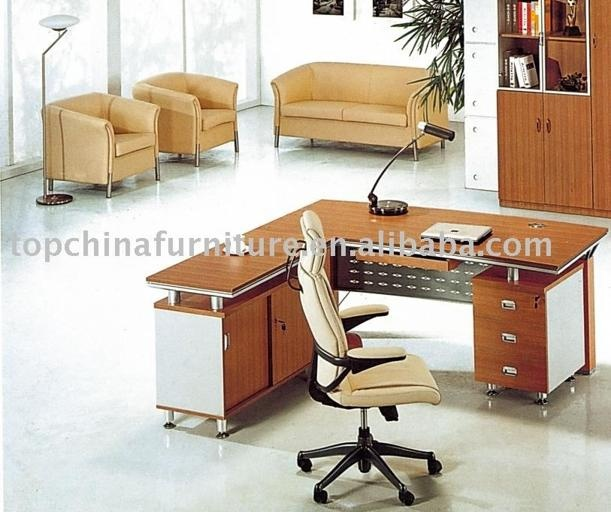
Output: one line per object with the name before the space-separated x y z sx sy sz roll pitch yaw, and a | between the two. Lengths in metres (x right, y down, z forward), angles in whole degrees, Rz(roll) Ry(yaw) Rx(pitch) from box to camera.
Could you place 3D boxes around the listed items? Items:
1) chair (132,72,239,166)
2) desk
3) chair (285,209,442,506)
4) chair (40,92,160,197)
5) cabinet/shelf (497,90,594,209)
chair | -1.651 -1.905 9.775 1.381 1.392 1.671 10 20 28
desk | 0.360 0.207 3.873 1.808 0.724 1.803 9 22 29
chair | 0.269 0.412 3.041 0.680 1.244 0.612 -4 10 -2
chair | -2.503 -1.431 8.361 0.977 0.905 1.123 12 24 18
cabinet/shelf | 2.464 -1.123 6.836 1.105 1.226 0.504 6 19 28
